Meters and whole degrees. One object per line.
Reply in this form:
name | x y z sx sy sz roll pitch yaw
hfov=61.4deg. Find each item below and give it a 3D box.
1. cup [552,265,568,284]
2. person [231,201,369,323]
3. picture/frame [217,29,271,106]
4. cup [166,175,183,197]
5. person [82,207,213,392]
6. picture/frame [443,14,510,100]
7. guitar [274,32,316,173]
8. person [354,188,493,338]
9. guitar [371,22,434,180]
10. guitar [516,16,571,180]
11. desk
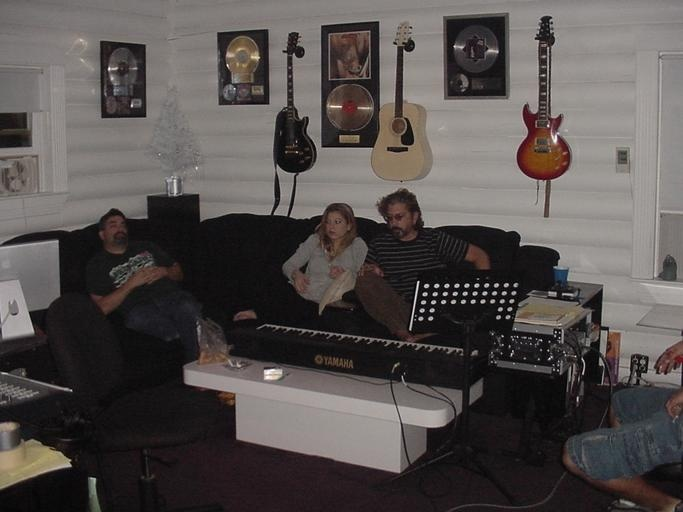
cup | 1.548 0.138 4.069 0.094 0.107 0.115 2 0 37
person | -0.137 -0.020 4.579 0.692 0.751 0.523 1 12 7
picture/frame | -0.881 -1.775 5.347 0.633 0.776 0.080 5 12 22
cup | -1.557 -0.656 5.378 0.175 0.206 0.183 2 9 0
person | -1.498 0.193 4.424 0.909 1.032 0.698 0 12 1
picture/frame | 1.073 -1.572 4.482 0.609 0.771 0.077 3 11 22
guitar | -0.400 -1.356 5.109 0.380 1.193 0.290 2 12 11
person | 0.529 -0.003 4.371 0.900 0.914 0.824 -9 15 -36
guitar | 0.510 -1.239 4.702 0.501 1.291 0.332 2 12 9
guitar | 1.533 -1.167 4.285 0.372 1.172 0.145 4 12 20
desk | -0.018 0.858 3.402 1.550 0.719 0.583 5 13 20
